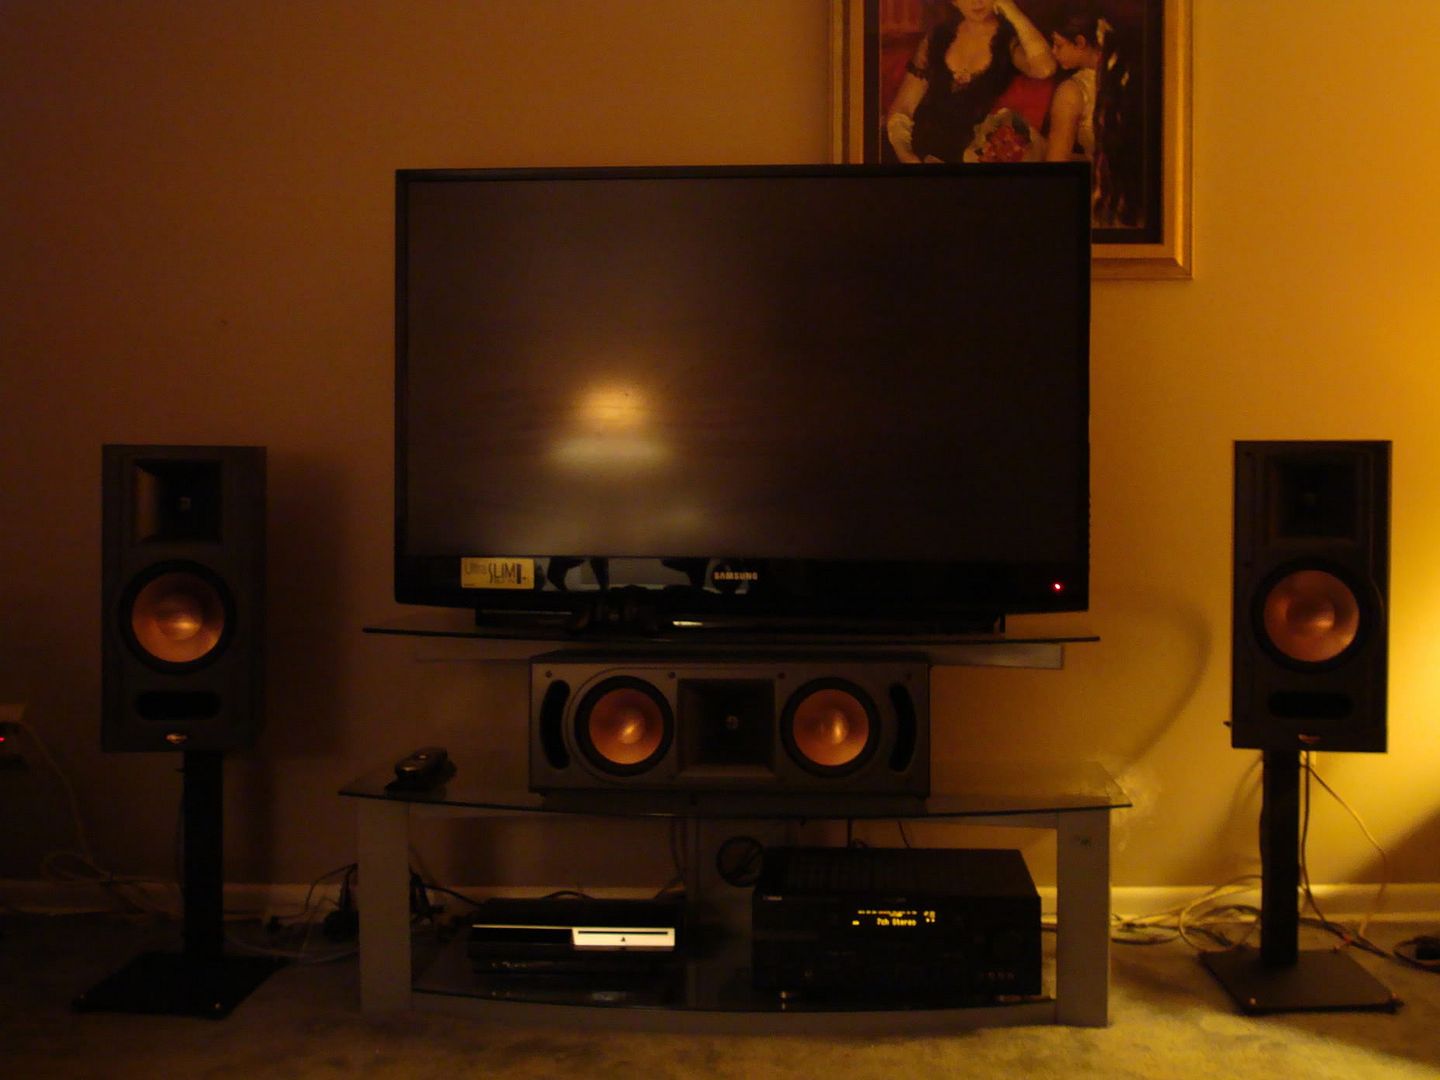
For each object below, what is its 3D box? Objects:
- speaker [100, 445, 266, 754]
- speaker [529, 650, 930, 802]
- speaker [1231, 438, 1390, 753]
[{"bbox_3d":[-1.320,0.115,3.889,0.415,0.720,0.432,3,10,-1],"label":"speaker"},{"bbox_3d":[0.032,0.440,3.782,0.893,0.346,0.270,0,1,2],"label":"speaker"},{"bbox_3d":[1.449,0.081,3.867,0.413,0.779,0.433,-3,20,10],"label":"speaker"}]
